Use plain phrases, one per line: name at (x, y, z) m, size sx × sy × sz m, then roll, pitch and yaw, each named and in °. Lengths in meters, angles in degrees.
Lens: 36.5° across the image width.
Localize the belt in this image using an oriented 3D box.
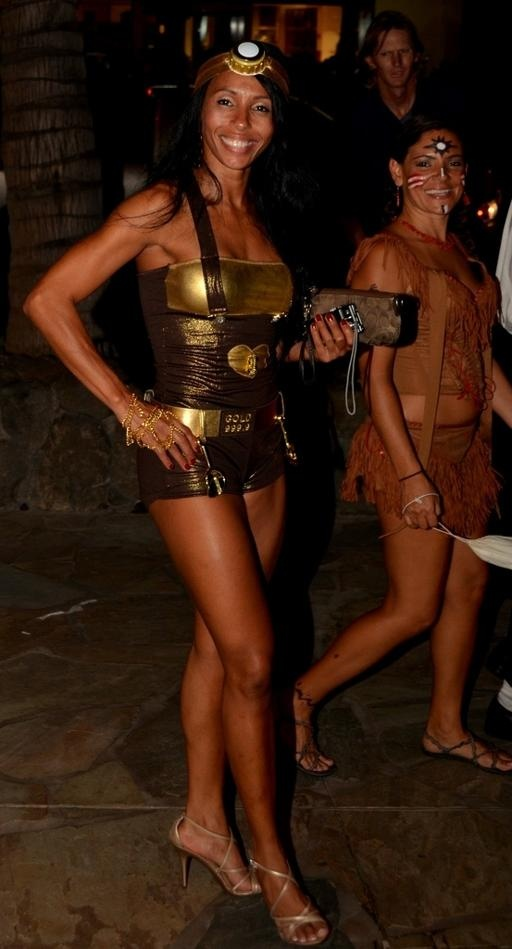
belt at (-0.111, -0.162, 1.889) m, size 0.181 × 0.126 × 0.328 m, roll 11°, pitch 16°, yaw 31°

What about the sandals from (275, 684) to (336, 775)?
sandals at (0.218, 0.924, 2.728) m, size 0.143 × 0.172 × 0.444 m, roll -1°, pitch 0°, yaw 6°

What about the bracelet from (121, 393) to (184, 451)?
bracelet at (-0.254, -0.118, 1.820) m, size 0.135 × 0.123 × 0.101 m, roll 3°, pitch 19°, yaw -3°

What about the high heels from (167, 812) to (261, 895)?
high heels at (-0.087, 0.980, 2.080) m, size 0.260 × 0.184 × 0.120 m, roll 13°, pitch 13°, yaw 1°

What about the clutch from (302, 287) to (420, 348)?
clutch at (0.294, -0.442, 2.208) m, size 0.339 × 0.175 × 0.369 m, roll 12°, pitch 24°, yaw 20°
